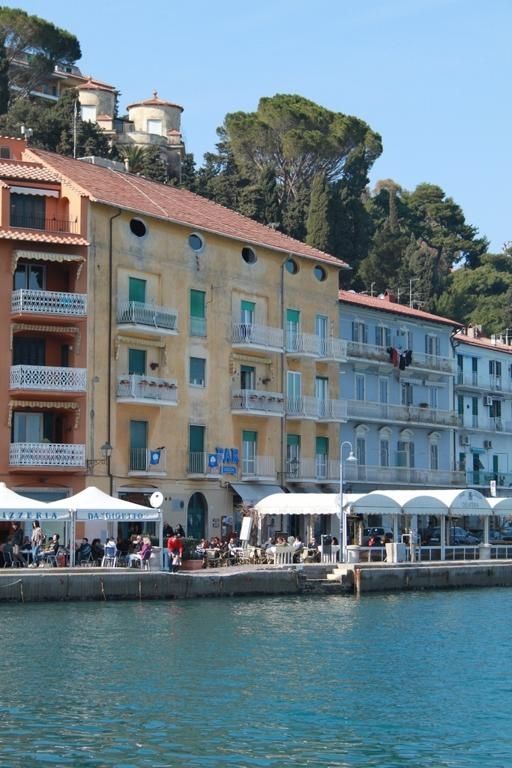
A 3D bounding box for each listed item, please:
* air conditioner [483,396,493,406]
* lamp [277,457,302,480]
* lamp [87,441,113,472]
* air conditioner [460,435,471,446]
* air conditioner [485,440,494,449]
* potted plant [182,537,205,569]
[{"bbox_3d":[12.129,1.033,87.449,0.342,0.641,0.695,-3,-4,20],"label":"air conditioner"},{"bbox_3d":[1.286,3.299,66.278,0.775,1.195,0.784,8,-11,-41],"label":"lamp"},{"bbox_3d":[-5.115,2.427,56.231,0.888,1.445,0.644,-5,-6,16],"label":"lamp"},{"bbox_3d":[10.511,2.822,84.092,0.381,0.515,0.631,-2,-6,19],"label":"air conditioner"},{"bbox_3d":[12.053,3.217,86.585,0.323,0.626,0.629,-2,-4,33],"label":"air conditioner"},{"bbox_3d":[-2.022,5.518,55.346,0.677,1.242,0.949,-2,-5,13],"label":"potted plant"}]
